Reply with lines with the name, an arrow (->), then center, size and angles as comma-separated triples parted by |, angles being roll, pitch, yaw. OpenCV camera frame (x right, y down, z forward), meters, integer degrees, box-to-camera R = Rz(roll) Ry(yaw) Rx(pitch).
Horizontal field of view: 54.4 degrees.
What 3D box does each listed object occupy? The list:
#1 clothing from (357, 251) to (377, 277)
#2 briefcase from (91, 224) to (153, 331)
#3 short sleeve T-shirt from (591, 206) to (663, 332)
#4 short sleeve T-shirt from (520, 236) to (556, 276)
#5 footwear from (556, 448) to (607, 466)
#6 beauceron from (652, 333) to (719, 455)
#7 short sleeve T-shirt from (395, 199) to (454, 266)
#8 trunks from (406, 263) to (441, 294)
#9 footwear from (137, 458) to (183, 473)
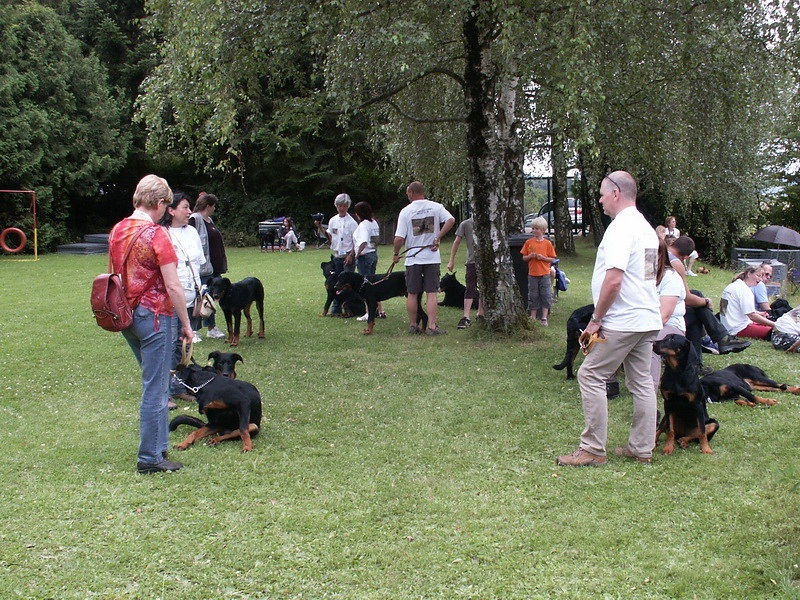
clothing -> -0.586, -0.621, 13.387 | 0.332, 0.520, 0.293 | -4, -13, 21
briefcase -> -2.898, -0.200, 8.015 | 0.526, 1.071, 0.256 | -2, 5, -17
short sleeve T-shirt -> 2.400, -0.321, 8.166 | 0.705, 1.303, 0.422 | 0, 5, 7
short sleeve T-shirt -> 2.301, -0.704, 12.988 | 0.536, 0.655, 0.423 | 1, 5, 9
footwear -> 1.969, 1.666, 8.495 | 0.524, 0.228, 0.208 | 3, 0, 3
beauceron -> 3.113, 1.030, 8.573 | 0.638, 1.308, 0.355 | 0, 5, 7
short sleeve T-shirt -> 0.350, -1.058, 12.335 | 0.826, 1.048, 0.345 | 0, 5, 3
trunks -> 0.361, -0.335, 12.502 | 0.640, 0.656, 0.403 | 1, 0, 1
footwear -> -2.568, 1.761, 8.334 | 0.454, 0.226, 0.174 | -1, 3, -13
